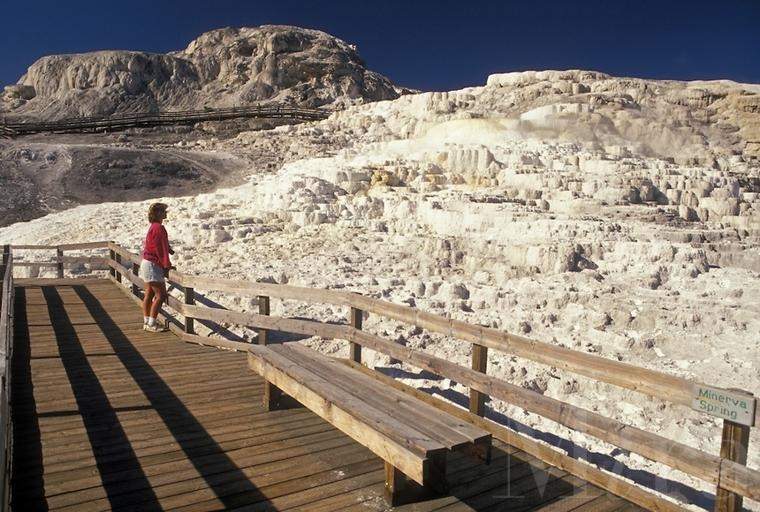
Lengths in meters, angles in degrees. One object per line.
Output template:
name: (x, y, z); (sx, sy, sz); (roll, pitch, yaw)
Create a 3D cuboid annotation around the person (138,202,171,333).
person: (-3.120, 0.188, 8.945); (0.405, 1.870, 0.720); (-2, 15, -20)

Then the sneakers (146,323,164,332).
sneakers: (-3.217, 1.031, 9.176); (0.259, 0.105, 0.106); (-1, 4, -14)
